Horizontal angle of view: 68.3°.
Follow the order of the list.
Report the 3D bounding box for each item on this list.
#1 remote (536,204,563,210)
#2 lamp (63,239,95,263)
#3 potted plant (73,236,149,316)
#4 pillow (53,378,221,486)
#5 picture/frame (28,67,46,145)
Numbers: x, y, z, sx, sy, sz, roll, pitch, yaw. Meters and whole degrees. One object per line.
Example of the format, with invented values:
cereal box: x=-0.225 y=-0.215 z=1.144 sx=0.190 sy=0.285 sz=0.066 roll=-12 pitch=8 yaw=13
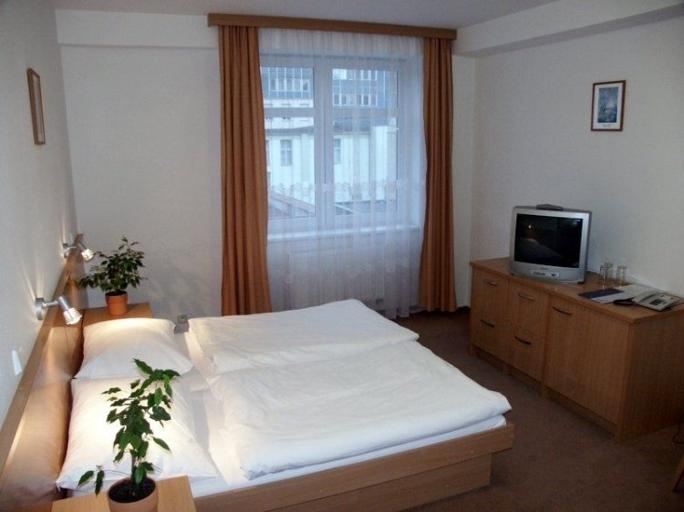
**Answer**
remote: x=1.813 y=-0.434 z=4.410 sx=0.110 sy=0.028 sz=0.106 roll=2 pitch=-1 yaw=-12
lamp: x=-2.138 y=-0.046 z=4.110 sx=0.183 sy=0.169 sz=0.082 roll=3 pitch=18 yaw=26
potted plant: x=-1.936 y=0.210 z=4.307 sx=0.472 sy=0.616 sz=0.434 roll=-7 pitch=-3 yaw=-34
pillow: x=-1.042 y=0.966 z=2.637 sx=0.632 sy=0.164 sz=0.607 roll=0 pitch=24 yaw=-20
picture/frame: x=-1.964 y=-0.964 z=3.265 sx=0.048 sy=0.488 sz=0.531 roll=-8 pitch=13 yaw=-24
